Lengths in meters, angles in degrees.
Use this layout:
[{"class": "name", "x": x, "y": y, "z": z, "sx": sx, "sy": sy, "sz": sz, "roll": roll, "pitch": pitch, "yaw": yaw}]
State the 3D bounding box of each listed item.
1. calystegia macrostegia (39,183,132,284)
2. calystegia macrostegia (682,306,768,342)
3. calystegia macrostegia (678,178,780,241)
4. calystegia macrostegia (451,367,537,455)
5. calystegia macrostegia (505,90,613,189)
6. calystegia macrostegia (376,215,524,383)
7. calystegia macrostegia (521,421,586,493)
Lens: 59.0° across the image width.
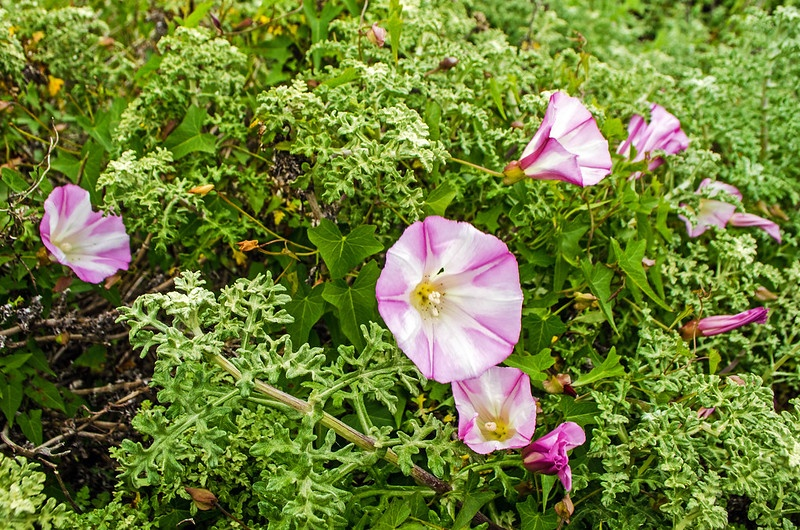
[{"class": "calystegia macrostegia", "x": -1.202, "y": -0.151, "z": 2.553, "sx": 0.355, "sy": 0.350, "sz": 0.195, "roll": 35, "pitch": 76, "yaw": -28}, {"class": "calystegia macrostegia", "x": 1.165, "y": 0.213, "z": 2.561, "sx": 0.068, "sy": 0.240, "sz": 0.066, "roll": 59, "pitch": 32, "yaw": -26}, {"class": "calystegia macrostegia", "x": 1.276, "y": -0.211, "z": 2.800, "sx": 0.318, "sy": 0.107, "sz": 0.249, "roll": 17, "pitch": 100, "yaw": -14}, {"class": "calystegia macrostegia", "x": 0.304, "y": 0.463, "z": 2.360, "sx": 0.246, "sy": 0.142, "sz": 0.284, "roll": 10, "pitch": 82, "yaw": 5}, {"class": "calystegia macrostegia", "x": 0.542, "y": -0.404, "z": 2.427, "sx": 0.341, "sy": 0.230, "sz": 0.284, "roll": -9, "pitch": 79, "yaw": -6}, {"class": "calystegia macrostegia", "x": 0.121, "y": 0.111, "z": 2.323, "sx": 0.527, "sy": 0.195, "sz": 0.592, "roll": 15, "pitch": 72, "yaw": 7}, {"class": "calystegia macrostegia", "x": 0.466, "y": 0.611, "z": 2.267, "sx": 0.216, "sy": 0.135, "sz": 0.211, "roll": 5, "pitch": 75, "yaw": -30}]
